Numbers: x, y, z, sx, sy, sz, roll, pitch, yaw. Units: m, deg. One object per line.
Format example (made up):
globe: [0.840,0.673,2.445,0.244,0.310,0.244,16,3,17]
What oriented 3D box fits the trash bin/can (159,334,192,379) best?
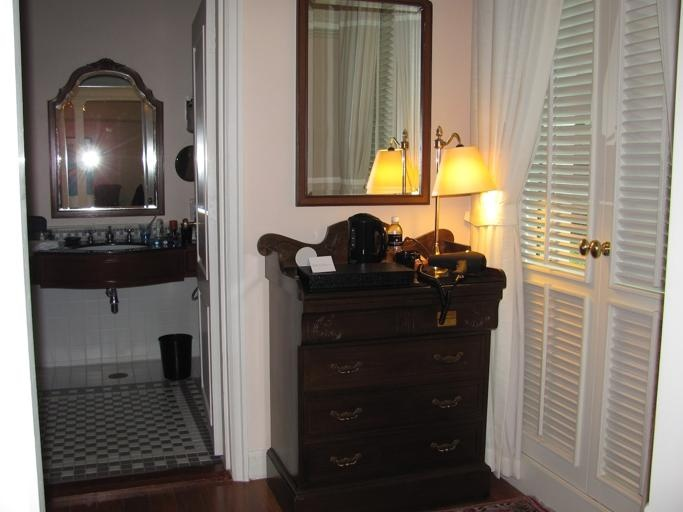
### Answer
trash bin/can: [-1.226,0.722,4.180,0.229,0.255,0.222,-5,-2,36]

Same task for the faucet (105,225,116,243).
faucet: [-1.730,-0.162,4.164,0.075,0.124,0.191,-7,9,-22]

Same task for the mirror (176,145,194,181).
mirror: [-1.244,-0.733,4.418,0.141,0.281,0.072,-2,8,10]

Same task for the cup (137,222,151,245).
cup: [-1.491,-0.166,4.230,0.104,0.146,0.248,-6,9,-20]
